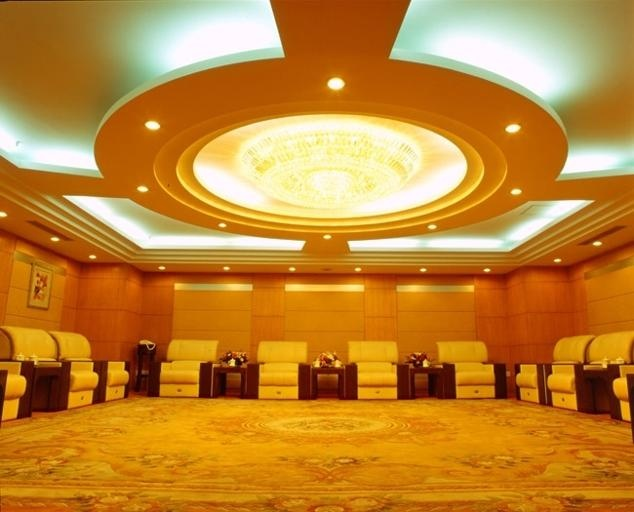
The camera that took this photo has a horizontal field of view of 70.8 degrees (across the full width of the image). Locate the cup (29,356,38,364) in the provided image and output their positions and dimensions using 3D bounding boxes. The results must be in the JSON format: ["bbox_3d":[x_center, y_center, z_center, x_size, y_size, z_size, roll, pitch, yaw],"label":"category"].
[{"bbox_3d":[-4.286,1.554,6.718,0.147,0.103,0.144,0,-7,0],"label":"cup"}]

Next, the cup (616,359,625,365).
[{"bbox_3d":[4.705,1.623,6.890,0.135,0.083,0.109,1,-14,2],"label":"cup"}]

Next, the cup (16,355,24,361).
[{"bbox_3d":[-4.441,1.521,6.694,0.101,0.070,0.082,0,-11,-3],"label":"cup"}]

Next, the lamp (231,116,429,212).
[{"bbox_3d":[0.166,-1.304,6.296,2.420,0.542,1.830,2,-12,-9],"label":"lamp"}]

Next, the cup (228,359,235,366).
[{"bbox_3d":[-1.913,2.396,10.055,0.154,0.127,0.148,0,-17,0],"label":"cup"}]
